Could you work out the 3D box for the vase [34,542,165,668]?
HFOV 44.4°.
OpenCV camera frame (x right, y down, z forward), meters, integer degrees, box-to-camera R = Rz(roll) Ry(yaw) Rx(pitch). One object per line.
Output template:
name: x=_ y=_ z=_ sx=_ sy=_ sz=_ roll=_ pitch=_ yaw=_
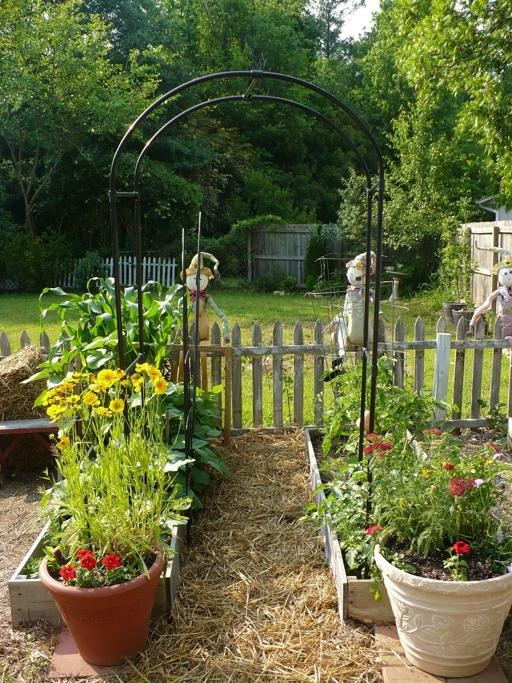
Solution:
vase: x=-0.603 y=0.988 z=2.339 sx=0.453 sy=0.352 sz=0.435 roll=8 pitch=0 yaw=-21
